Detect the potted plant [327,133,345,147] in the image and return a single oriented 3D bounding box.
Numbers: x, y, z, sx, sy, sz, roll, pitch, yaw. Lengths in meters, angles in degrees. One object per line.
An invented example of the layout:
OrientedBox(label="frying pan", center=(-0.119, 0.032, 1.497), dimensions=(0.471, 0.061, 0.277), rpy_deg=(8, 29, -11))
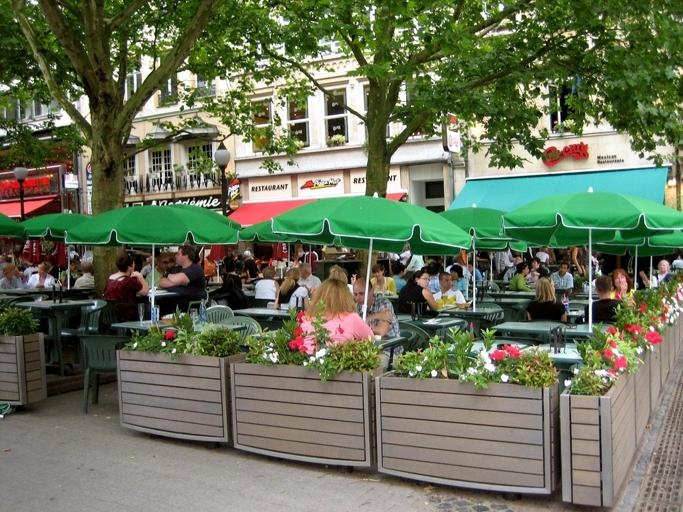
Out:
OrientedBox(label="potted plant", center=(-0.185, -4.874, 31.515), dimensions=(0.604, 0.451, 0.571), rpy_deg=(-1, -2, 8))

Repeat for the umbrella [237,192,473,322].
OrientedBox(label="umbrella", center=(0.520, -0.053, 11.865), dimensions=(2.721, 1.683, 4.280), rpy_deg=(-2, 2, 4))

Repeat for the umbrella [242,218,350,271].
OrientedBox(label="umbrella", center=(-1.111, -0.220, 18.490), dimensions=(2.112, 1.341, 1.985), rpy_deg=(-2, 4, -41))

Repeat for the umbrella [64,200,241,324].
OrientedBox(label="umbrella", center=(-3.040, -0.018, 12.546), dimensions=(2.093, 1.226, 2.010), rpy_deg=(0, -1, -5))
